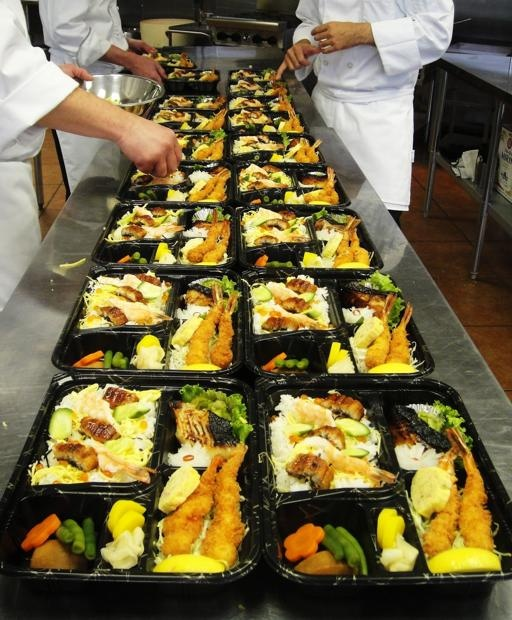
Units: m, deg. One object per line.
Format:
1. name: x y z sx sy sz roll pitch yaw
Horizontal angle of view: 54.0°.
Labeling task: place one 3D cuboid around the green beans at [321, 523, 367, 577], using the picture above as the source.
1. green beans: 0.168 0.436 0.932 0.044 0.019 0.078 3 11 -4

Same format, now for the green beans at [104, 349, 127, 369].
1. green beans: -0.400 0.139 1.431 0.063 0.014 0.057 1 28 -7

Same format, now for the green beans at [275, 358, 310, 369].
1. green beans: 0.105 0.151 1.437 0.074 0.019 0.036 0 -9 -18

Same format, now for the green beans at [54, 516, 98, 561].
1. green beans: -0.330 0.420 0.940 0.052 0.021 0.082 10 9 -29
